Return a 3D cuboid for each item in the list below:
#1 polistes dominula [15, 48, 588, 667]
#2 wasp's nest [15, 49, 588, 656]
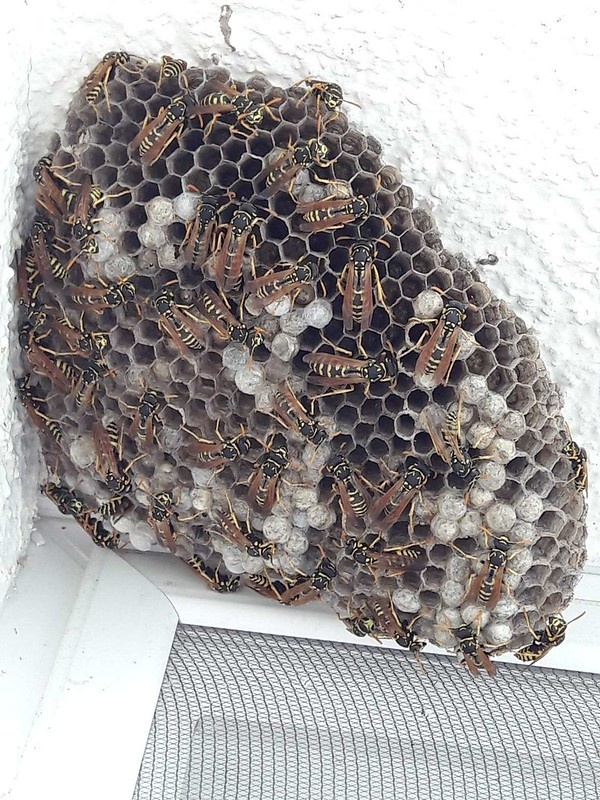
[{"bbox_3d":[0.150,-0.145,3.109,1.930,0.510,1.424,44,107,-6],"label":"polistes dominula"},{"bbox_3d":[0.096,-0.224,3.053,1.937,1.381,0.474,41,19,-6],"label":"wasp's nest"}]
